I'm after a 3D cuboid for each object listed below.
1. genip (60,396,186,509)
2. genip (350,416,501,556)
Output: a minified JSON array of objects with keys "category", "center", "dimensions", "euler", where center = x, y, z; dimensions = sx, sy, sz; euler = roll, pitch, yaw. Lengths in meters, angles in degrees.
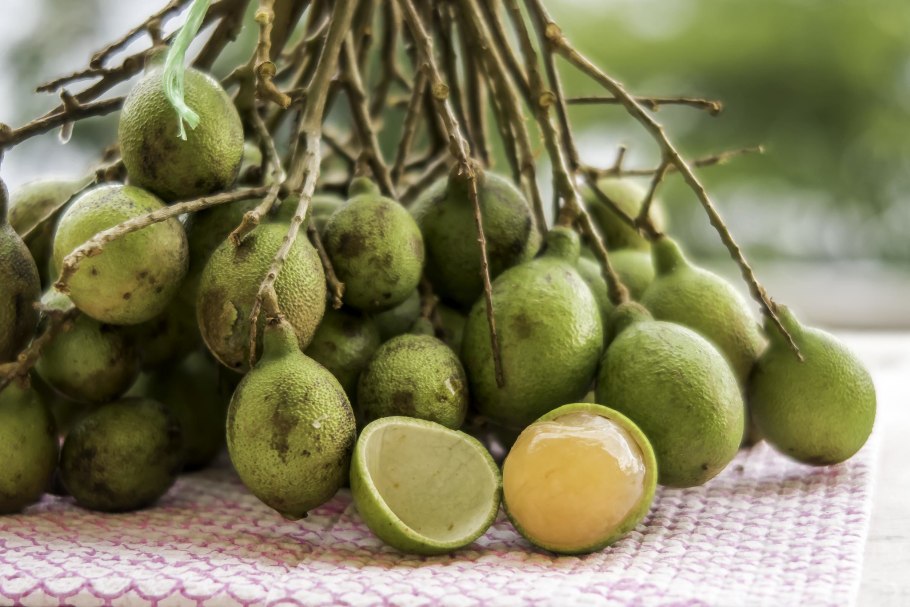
[{"category":"genip","center":[-0.316,0.141,0.997],"dimensions":[0.088,0.088,0.117],"euler":[15,25,42]},{"category":"genip","center":[-0.031,0.148,0.896],"dimensions":[0.127,0.072,0.119],"euler":[20,24,-19]}]
